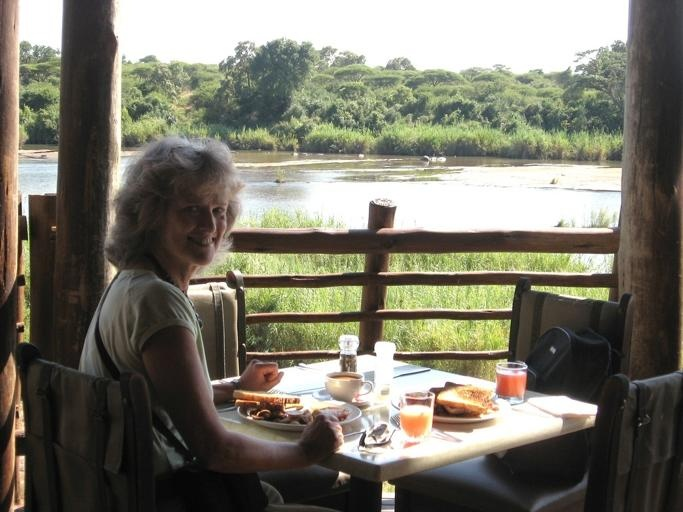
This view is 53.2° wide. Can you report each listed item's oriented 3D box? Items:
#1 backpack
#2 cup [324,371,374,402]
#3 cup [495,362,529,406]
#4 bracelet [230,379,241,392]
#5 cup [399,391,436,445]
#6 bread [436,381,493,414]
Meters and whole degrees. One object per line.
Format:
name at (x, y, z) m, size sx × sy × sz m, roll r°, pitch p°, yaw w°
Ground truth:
backpack at (0.768, 0.554, 2.414) m, size 0.326 × 0.633 × 0.426 m, roll 21°, pitch -6°, yaw -29°
cup at (0.004, 0.436, 2.293) m, size 0.107 × 0.053 × 0.087 m, roll 7°, pitch -1°, yaw 5°
cup at (0.623, 0.451, 2.435) m, size 0.120 × 0.148 × 0.124 m, roll 2°, pitch 4°, yaw 0°
bracelet at (-0.377, 0.462, 2.442) m, size 0.021 × 0.030 × 0.030 m, roll 4°, pitch 18°, yaw 6°
cup at (0.223, 0.481, 2.020) m, size 0.115 × 0.145 × 0.122 m, roll 0°, pitch -1°, yaw 0°
bread at (0.404, 0.469, 2.230) m, size 0.097 × 0.034 × 0.101 m, roll 7°, pitch 13°, yaw 20°
